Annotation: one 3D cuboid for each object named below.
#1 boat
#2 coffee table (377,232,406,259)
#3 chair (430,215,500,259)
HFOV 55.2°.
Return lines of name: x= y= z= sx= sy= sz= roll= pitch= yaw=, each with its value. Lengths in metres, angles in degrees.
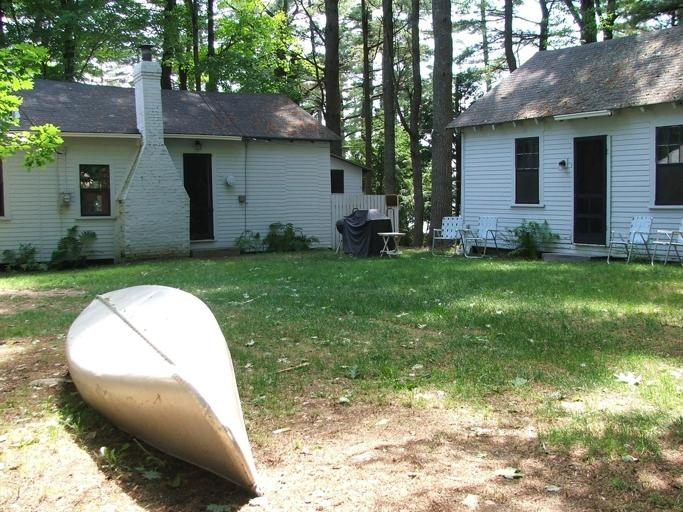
boat: x=-1.900 y=1.184 z=6.653 sx=1.418 sy=1.074 sz=3.920 roll=-24 pitch=23 yaw=-28
coffee table: x=1.279 y=-0.296 z=16.800 sx=0.695 sy=0.669 sz=0.616 roll=-2 pitch=2 yaw=-42
chair: x=3.259 y=-0.558 z=17.073 sx=1.638 sy=0.978 sz=1.668 roll=1 pitch=6 yaw=11
